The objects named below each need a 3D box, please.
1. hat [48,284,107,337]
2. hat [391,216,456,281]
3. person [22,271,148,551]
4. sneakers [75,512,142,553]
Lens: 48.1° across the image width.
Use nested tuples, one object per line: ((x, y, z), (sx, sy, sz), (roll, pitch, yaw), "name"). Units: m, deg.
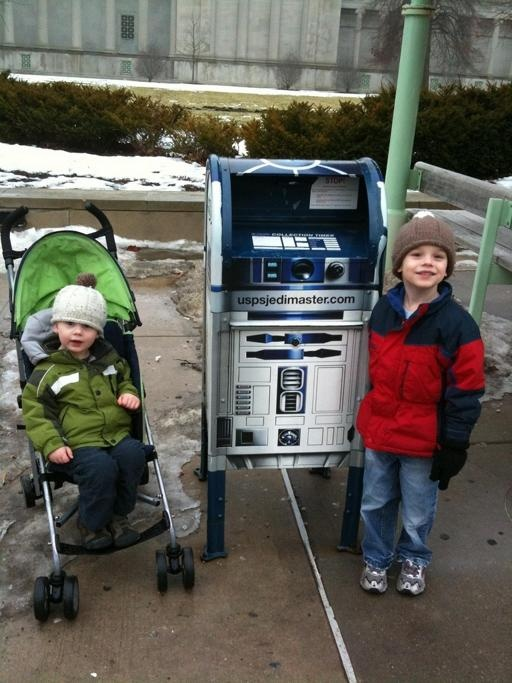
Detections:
((-0.749, -0.142, 2.452), (0.185, 0.166, 0.230), (11, -16, -11), "hat")
((0.646, -0.382, 2.273), (0.245, 0.227, 0.262), (2, -9, 5), "hat")
((-0.746, 0.293, 2.515), (0.499, 1.025, 0.834), (-5, 21, -22), "person")
((-0.591, 0.815, 2.399), (0.214, 0.101, 0.205), (4, 18, 3), "sneakers")
